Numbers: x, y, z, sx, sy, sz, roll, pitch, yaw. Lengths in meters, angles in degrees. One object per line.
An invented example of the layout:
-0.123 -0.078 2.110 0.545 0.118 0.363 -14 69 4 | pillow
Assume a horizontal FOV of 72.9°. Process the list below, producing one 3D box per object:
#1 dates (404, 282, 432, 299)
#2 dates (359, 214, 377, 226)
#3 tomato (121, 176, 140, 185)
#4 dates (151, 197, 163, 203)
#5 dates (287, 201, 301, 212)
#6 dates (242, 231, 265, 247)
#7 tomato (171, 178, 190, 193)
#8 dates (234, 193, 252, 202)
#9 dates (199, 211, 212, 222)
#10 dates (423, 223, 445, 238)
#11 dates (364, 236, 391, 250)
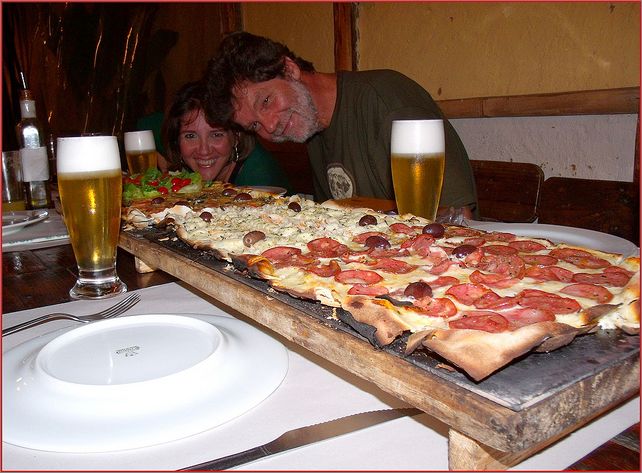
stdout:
0.161 0.088 0.722 0.034 0.016 0.032 0 2 16 | dates
0.140 -0.050 1.216 0.038 0.017 0.032 -6 22 -4 | dates
-1.050 -0.316 2.415 0.098 0.030 0.087 -3 8 -3 | tomato
-0.735 -0.165 1.940 0.038 0.017 0.034 -2 6 4 | dates
-0.095 -0.105 1.540 0.042 0.018 0.037 0 17 -3 | dates
-0.174 0.008 1.108 0.040 0.024 0.048 3 8 17 | dates
-0.785 -0.293 2.415 0.097 0.032 0.085 -6 20 -1 | tomato
-0.346 -0.174 1.920 0.055 0.027 0.055 1 9 3 | dates
-0.387 -0.067 1.456 0.036 0.019 0.037 5 17 1 | dates
0.279 -0.014 1.073 0.053 0.032 0.036 -3 -1 -7 | dates
0.133 0.016 1.017 0.032 0.019 0.040 -5 5 -40 | dates
